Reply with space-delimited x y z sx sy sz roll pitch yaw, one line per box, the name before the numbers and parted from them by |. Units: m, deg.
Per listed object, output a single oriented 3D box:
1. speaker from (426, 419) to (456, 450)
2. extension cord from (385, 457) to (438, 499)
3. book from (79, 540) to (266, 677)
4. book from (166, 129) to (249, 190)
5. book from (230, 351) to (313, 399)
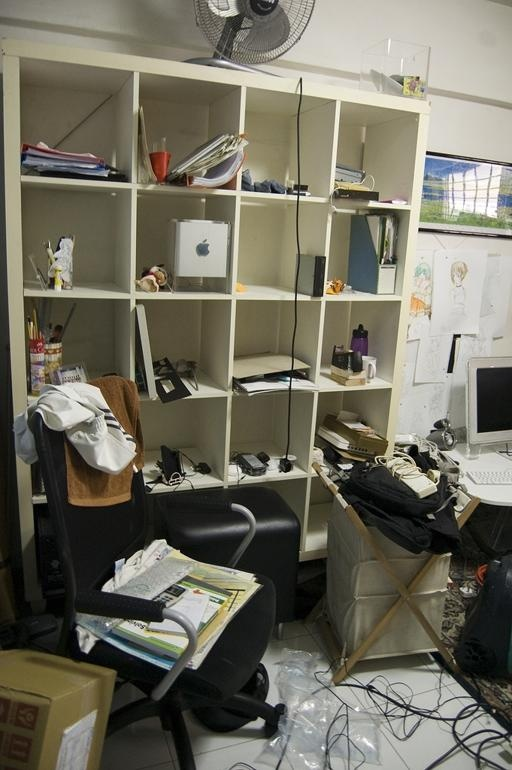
speaker | 0.881 0.241 2.744 0.074 0.126 0.197 17 -3 -8
extension cord | 0.543 0.311 1.985 0.134 0.044 0.278 -1 15 -20
book | -0.191 0.528 1.455 0.386 0.199 0.383 5 13 5
book | -0.165 -0.719 1.836 0.240 0.177 0.210 -1 14 -21
book | 0.039 -0.044 2.157 0.270 0.143 0.152 -2 16 -27
